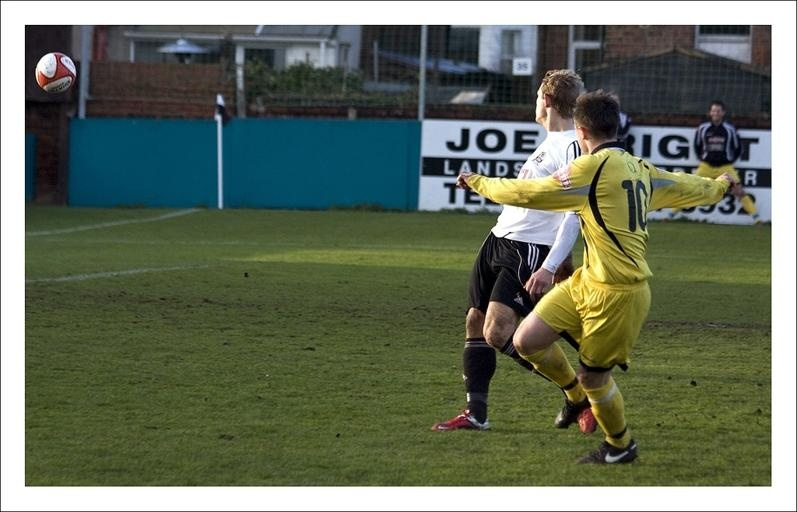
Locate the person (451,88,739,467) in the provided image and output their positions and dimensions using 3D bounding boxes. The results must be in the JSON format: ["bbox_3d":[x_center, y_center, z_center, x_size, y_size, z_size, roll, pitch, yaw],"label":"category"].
[{"bbox_3d":[1.287,0.156,7.864,1.462,2.421,0.358,1,7,6],"label":"person"}]

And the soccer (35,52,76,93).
[{"bbox_3d":[-2.472,-1.314,8.669,0.299,0.275,0.286,1,11,-16],"label":"soccer"}]

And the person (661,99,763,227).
[{"bbox_3d":[2.458,-0.714,9.317,0.955,1.113,0.375,-5,-17,33],"label":"person"}]

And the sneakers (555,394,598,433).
[{"bbox_3d":[1.149,1.086,8.286,0.142,0.178,0.408,0,1,-40],"label":"sneakers"}]

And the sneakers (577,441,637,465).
[{"bbox_3d":[1.401,1.310,8.046,0.426,0.181,0.137,0,-1,0],"label":"sneakers"}]

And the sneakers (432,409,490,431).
[{"bbox_3d":[0.424,1.122,8.274,0.444,0.165,0.145,1,-8,1],"label":"sneakers"}]
